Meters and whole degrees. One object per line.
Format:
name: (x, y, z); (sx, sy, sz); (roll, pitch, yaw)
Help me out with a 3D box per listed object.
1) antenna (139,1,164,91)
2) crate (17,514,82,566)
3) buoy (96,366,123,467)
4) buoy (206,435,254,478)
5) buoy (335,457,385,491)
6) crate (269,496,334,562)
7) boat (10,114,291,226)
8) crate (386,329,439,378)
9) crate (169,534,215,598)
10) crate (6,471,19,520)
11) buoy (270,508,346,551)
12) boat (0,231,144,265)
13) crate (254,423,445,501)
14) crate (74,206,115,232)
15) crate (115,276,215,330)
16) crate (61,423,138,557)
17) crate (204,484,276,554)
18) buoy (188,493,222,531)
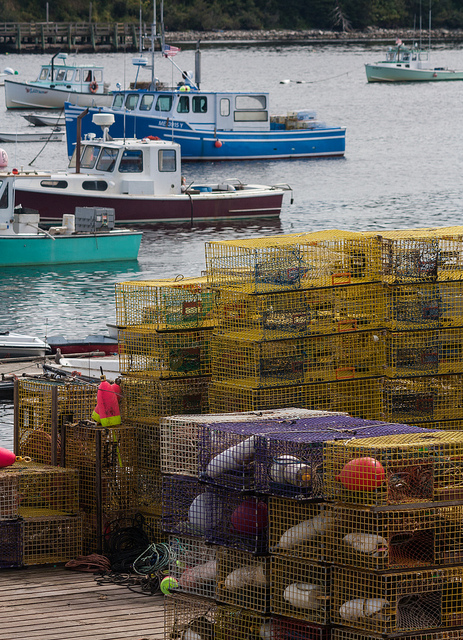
antenna: (-2.163, -7.433, 40.604); (0.746, 2.526, 0.597); (11, 28, 19)
crate: (-1.077, 1.312, 8.861); (0.430, 0.324, 0.095); (-14, 22, -30)
buoy: (-0.764, 0.482, 9.127); (0.139, 0.354, 0.303); (-4, 20, -5)
buoy: (-0.002, 0.680, 7.196); (0.259, 0.194, 0.225); (-16, 18, -40)
buoy: (0.576, 0.676, 6.672); (0.210, 0.140, 0.218); (-6, 8, -19)
crate: (0.318, 0.942, 7.021); (0.307, 0.364, 0.240); (4, 3, 20)
boat: (-1.612, -2.650, 27.512); (6.010, 2.284, 1.555); (-6, 4, -37)
crate: (1.126, 0.205, 9.085); (0.339, 0.270, 0.203); (0, 7, -8)
crate: (-0.144, 1.256, 7.573); (0.239, 0.296, 0.385); (14, -16, -43)
crate: (-1.278, 1.027, 8.613); (0.075, 0.278, 0.120); (-2, 19, 0)
buoy: (0.314, 0.982, 6.935); (0.486, 0.123, 0.115); (-32, -21, 28)
boat: (-2.626, -1.132, 23.964); (2.778, 0.558, 0.824); (-1, 0, -28)
crate: (0.583, 0.727, 7.131); (0.894, 0.346, 0.610); (0, -4, -1)
crate: (-2.175, -1.565, 23.475); (0.448, 0.343, 0.446); (-2, 4, -38)
crate: (-0.376, -0.123, 9.340); (0.394, 0.339, 0.598); (-16, 18, -40)
crate: (-0.850, 0.966, 9.221); (0.423, 0.840, 0.394); (16, 21, 42)
crate: (0.050, 0.969, 7.187); (0.242, 0.340, 0.439); (1, -1, -36)
buoy: (-0.131, 0.961, 7.379); (0.171, 0.198, 0.185); (-2, 2, -2)
